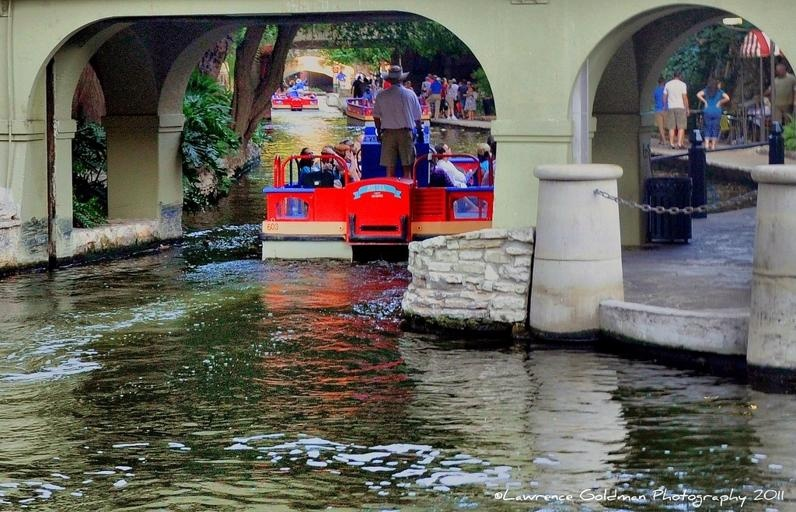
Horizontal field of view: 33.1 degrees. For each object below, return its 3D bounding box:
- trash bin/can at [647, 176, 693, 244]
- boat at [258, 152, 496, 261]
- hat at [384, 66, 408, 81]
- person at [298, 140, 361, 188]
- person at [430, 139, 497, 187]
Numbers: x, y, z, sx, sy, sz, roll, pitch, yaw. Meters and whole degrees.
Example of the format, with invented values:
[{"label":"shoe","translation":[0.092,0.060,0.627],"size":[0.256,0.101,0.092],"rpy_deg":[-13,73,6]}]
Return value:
[{"label":"trash bin/can","translation":[4.182,-0.712,20.778],"size":[0.765,0.993,0.536],"rpy_deg":[1,9,23]},{"label":"boat","translation":[-0.282,-0.762,22.325],"size":[3.595,1.709,2.657],"rpy_deg":[0,-1,1]},{"label":"hat","translation":[-0.029,-2.913,21.410],"size":[0.281,0.118,0.311],"rpy_deg":[0,23,0]},{"label":"person","translation":[-1.159,-1.462,22.134],"size":[1.025,0.713,0.758],"rpy_deg":[0,10,10]},{"label":"person","translation":[1.080,-1.479,22.140],"size":[1.086,0.770,0.597],"rpy_deg":[-2,7,2]}]
